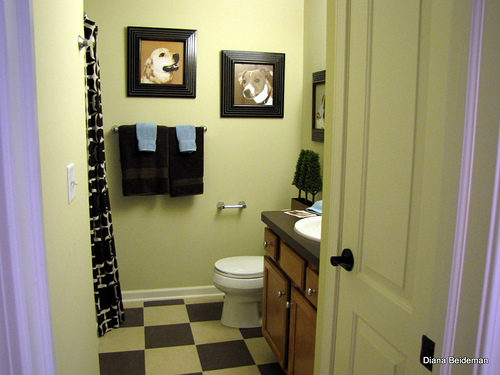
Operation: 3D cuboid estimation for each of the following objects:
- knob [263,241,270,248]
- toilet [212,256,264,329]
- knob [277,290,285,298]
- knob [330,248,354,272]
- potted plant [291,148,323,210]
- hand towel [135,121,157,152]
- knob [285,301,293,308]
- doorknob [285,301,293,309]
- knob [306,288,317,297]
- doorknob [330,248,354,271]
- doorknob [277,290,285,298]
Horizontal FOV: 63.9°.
[{"bbox_3d":[0.103,0.332,2.339,0.026,0.029,0.026,0,13,-6],"label":"knob"},{"bbox_3d":[-0.059,0.742,2.775,0.438,0.370,0.444,-3,8,-30],"label":"toilet"},{"bbox_3d":[0.162,0.565,2.112,0.037,0.031,0.039,-1,3,-2],"label":"knob"},{"bbox_3d":[0.307,0.239,1.360,0.059,0.097,0.093,-1,2,-12],"label":"knob"},{"bbox_3d":[0.411,-0.067,2.868,0.179,0.564,0.405,-1,8,-11],"label":"potted plant"},{"bbox_3d":[-0.785,-0.414,2.963,0.147,0.056,0.197,1,-21,-20],"label":"hand towel"},{"bbox_3d":[0.198,0.588,2.017,0.032,0.027,0.024,1,2,-11],"label":"knob"},{"bbox_3d":[0.195,0.589,2.017,0.036,0.030,0.028,-1,0,2],"label":"doorknob"},{"bbox_3d":[0.264,0.448,1.722,0.037,0.025,0.025,5,-1,-27],"label":"knob"},{"bbox_3d":[0.306,0.240,1.360,0.057,0.093,0.089,-1,2,-11],"label":"doorknob"},{"bbox_3d":[0.162,0.553,2.109,0.038,0.032,0.040,-1,8,-4],"label":"doorknob"}]
